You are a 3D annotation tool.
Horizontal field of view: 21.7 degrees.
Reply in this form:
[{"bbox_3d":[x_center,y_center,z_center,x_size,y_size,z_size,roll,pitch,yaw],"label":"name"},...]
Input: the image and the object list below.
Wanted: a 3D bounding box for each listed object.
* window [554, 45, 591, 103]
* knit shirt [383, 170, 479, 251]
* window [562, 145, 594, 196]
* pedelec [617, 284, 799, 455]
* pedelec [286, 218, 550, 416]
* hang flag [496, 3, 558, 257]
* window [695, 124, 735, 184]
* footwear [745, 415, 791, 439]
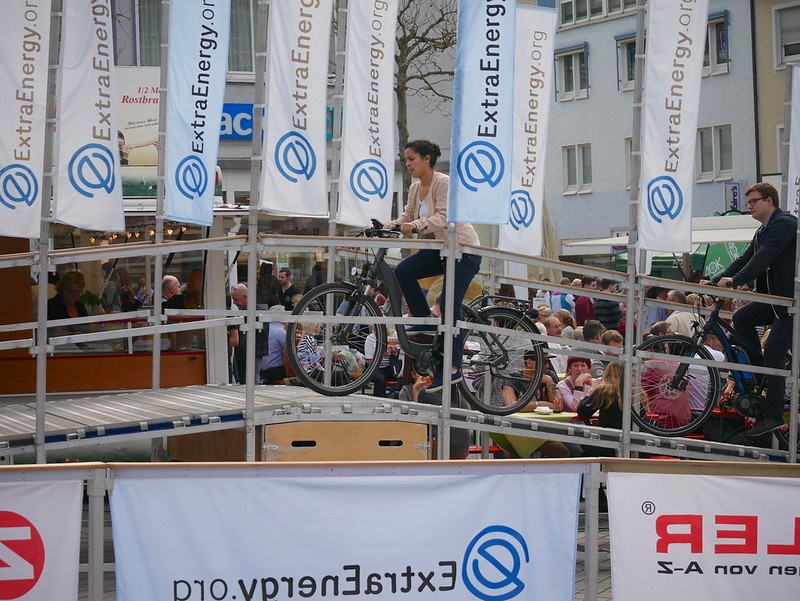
[{"bbox_3d":[4.125,-5.435,48.976,0.442,1.289,1.316,-2,0,-31],"label":"window"},{"bbox_3d":[0.329,-1.006,23.893,0.724,1.001,0.831,-9,11,-36],"label":"knit shirt"},{"bbox_3d":[4.230,-3.191,49.743,1.171,1.138,0.394,-9,11,-44],"label":"window"},{"bbox_3d":[3.333,0.889,25.074,2.424,1.621,1.245,13,-1,-4],"label":"pedelec"},{"bbox_3d":[-0.146,-0.305,24.985,3.283,2.844,2.023,-2,6,-29],"label":"pedelec"},{"bbox_3d":[1.713,-2.363,27.942,0.468,3.920,0.649,-1,10,-1],"label":"hang flag"},{"bbox_3d":[6.955,-3.296,45.718,0.183,1.275,1.379,-2,1,-29],"label":"window"},{"bbox_3d":[4.304,1.489,24.544,0.529,0.241,0.184,-20,-9,-12],"label":"footwear"}]
